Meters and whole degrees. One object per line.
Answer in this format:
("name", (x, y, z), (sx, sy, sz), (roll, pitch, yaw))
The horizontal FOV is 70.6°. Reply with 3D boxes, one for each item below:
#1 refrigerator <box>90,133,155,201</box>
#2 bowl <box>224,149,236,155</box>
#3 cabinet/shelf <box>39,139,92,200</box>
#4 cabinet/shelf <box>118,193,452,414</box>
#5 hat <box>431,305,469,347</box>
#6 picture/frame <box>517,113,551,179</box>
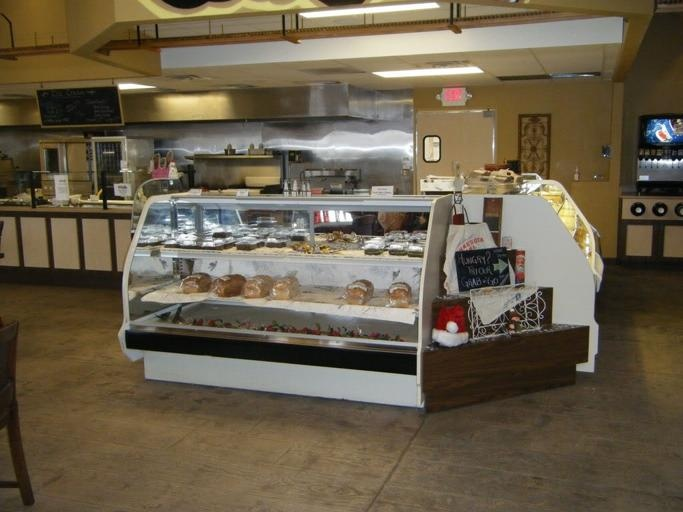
("refrigerator", (-4.018, -1.677, 8.777), (1.200, 1.060, 3.428), (-6, 13, -20))
("bowl", (-2.225, -2.068, 9.676), (0.190, 0.064, 0.179), (1, 8, 0))
("cabinet/shelf", (-5.035, -1.696, 8.858), (0.890, 0.981, 3.519), (-9, 14, -29))
("cabinet/shelf", (-0.505, 0.279, 4.141), (2.654, 1.603, 0.864), (2, 14, 15))
("hat", (0.805, 0.513, 3.591), (0.336, 0.274, 0.299), (2, 1, 35))
("picture/frame", (3.404, -1.943, 8.533), (0.587, 1.095, 0.164), (3, 15, 17))
